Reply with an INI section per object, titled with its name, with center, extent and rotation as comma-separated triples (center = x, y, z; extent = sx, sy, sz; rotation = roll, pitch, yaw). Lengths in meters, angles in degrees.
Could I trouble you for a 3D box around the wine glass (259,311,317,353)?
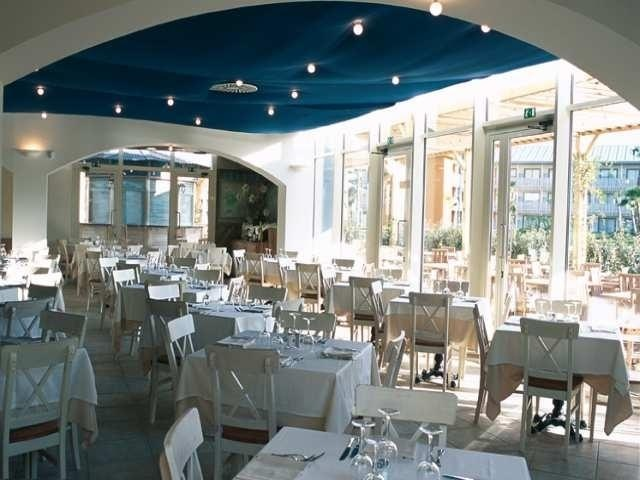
[wine glass]
center = -0.286, 0.837, 4.983
extent = 0.319, 0.474, 0.334
rotation = 1, -1, 17
